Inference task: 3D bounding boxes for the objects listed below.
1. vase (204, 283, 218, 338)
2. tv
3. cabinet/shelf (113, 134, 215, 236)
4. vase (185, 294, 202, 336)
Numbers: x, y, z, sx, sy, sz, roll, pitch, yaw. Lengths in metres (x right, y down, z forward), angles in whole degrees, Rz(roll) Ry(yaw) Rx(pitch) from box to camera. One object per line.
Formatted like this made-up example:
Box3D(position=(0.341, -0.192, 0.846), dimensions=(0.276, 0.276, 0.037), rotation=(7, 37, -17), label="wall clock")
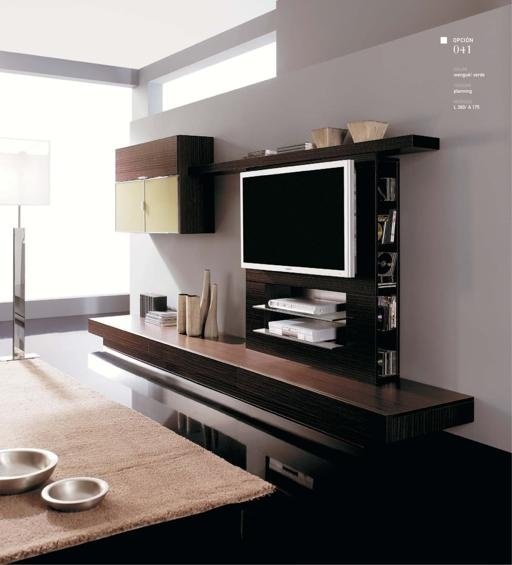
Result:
Box3D(position=(-0.401, 0.258, 4.480), dimensions=(0.125, 0.452, 0.349), rotation=(3, -1, -5), label="vase")
Box3D(position=(0.243, -0.422, 3.433), dimensions=(0.064, 0.704, 1.053), rotation=(-6, 8, -40), label="tv")
Box3D(position=(-1.021, -0.936, 5.109), dimensions=(1.108, 0.935, 0.379), rotation=(4, 8, 40), label="cabinet/shelf")
Box3D(position=(-0.561, 0.304, 4.436), dimensions=(0.135, 0.338, 0.084), rotation=(3, -1, -9), label="vase")
